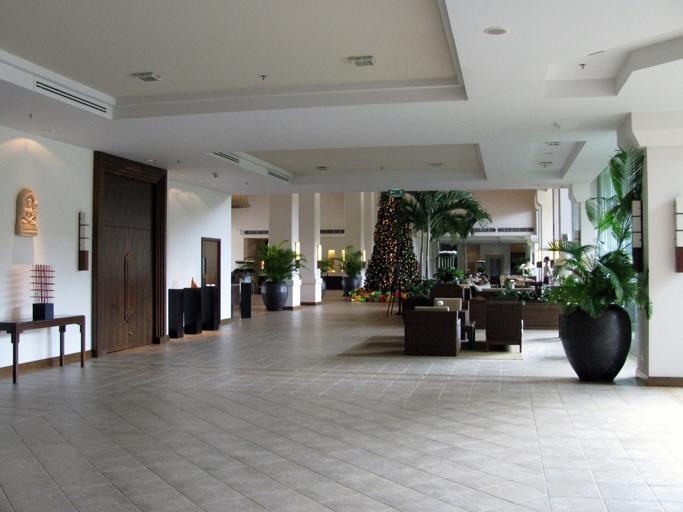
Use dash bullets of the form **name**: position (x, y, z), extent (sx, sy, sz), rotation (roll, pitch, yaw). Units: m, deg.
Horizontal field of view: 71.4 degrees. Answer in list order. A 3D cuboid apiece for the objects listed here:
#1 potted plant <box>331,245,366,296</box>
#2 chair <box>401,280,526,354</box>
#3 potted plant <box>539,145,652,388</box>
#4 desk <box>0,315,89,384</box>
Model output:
- **potted plant**: position (0.604, 0.782, 24.272), extent (2.016, 2.801, 2.073), rotation (1, -5, 6)
- **chair**: position (2.214, 1.289, 8.500), extent (1.546, 0.818, 1.592), rotation (0, 1, 21)
- **potted plant**: position (3.654, 0.084, 6.746), extent (1.135, 3.197, 2.122), rotation (-1, -2, 29)
- **desk**: position (-4.475, 1.424, 7.117), extent (0.293, 0.540, 0.939), rotation (0, 0, 16)
